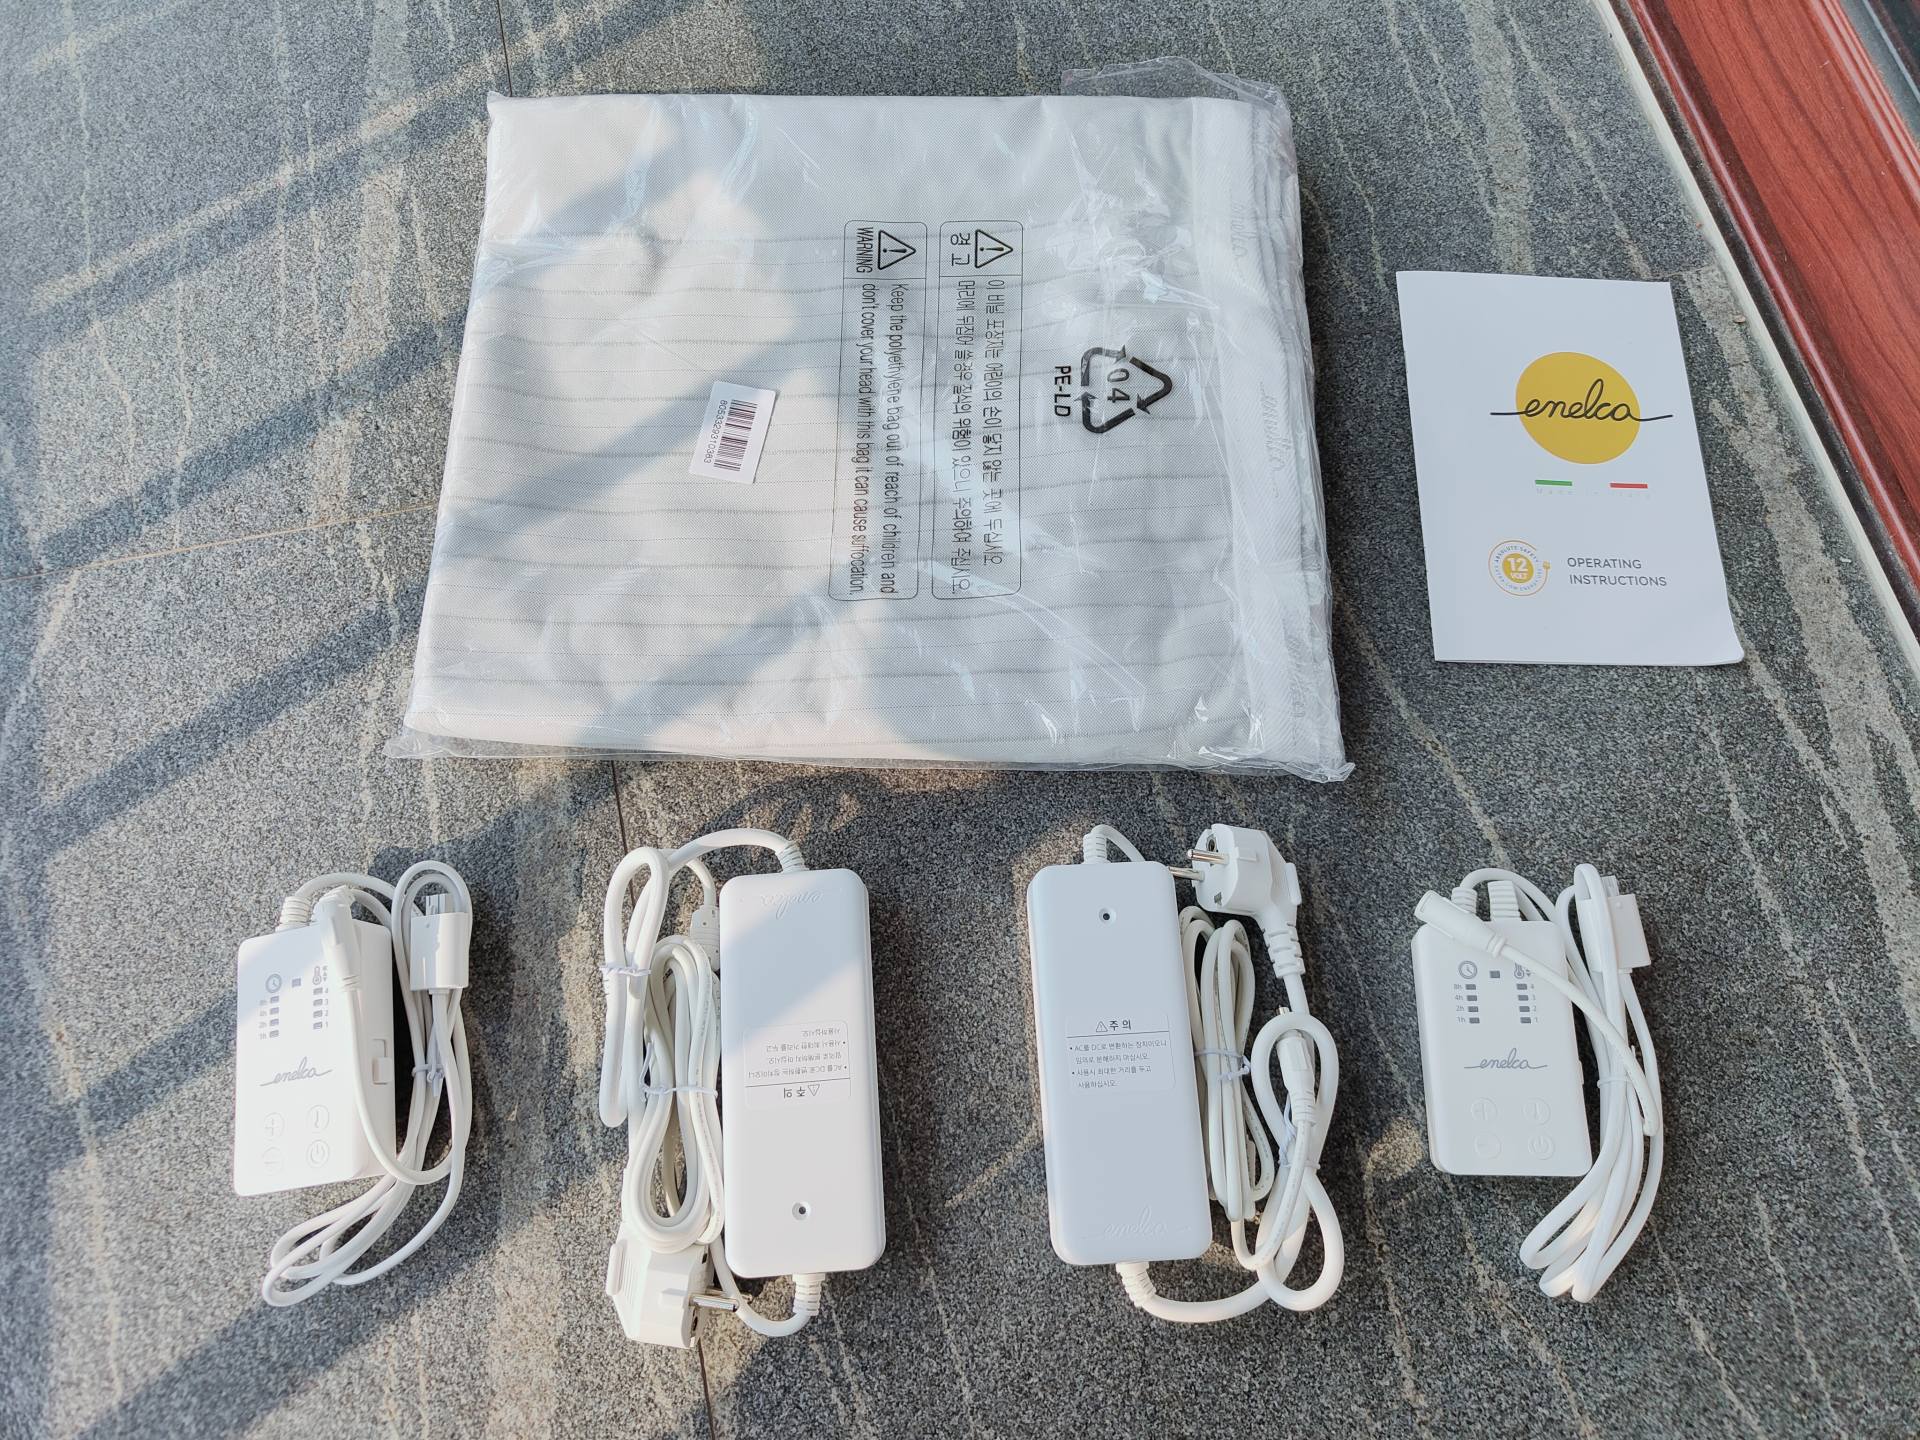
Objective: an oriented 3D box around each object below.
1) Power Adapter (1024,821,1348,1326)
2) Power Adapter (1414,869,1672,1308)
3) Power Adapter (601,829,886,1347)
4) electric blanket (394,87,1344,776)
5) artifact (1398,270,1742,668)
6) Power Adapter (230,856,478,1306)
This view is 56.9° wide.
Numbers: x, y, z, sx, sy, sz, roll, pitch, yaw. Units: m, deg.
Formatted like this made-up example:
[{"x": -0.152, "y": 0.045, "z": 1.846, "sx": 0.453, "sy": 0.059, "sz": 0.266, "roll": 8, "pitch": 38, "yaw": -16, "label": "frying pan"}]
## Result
[{"x": 0.165, "y": 0.253, "z": 1.291, "sx": 0.213, "sy": 0.134, "sz": 0.340, "roll": -6, "pitch": 60, "yaw": 8, "label": "Power Adapter"}, {"x": 0.462, "y": 0.268, "z": 1.331, "sx": 0.165, "sy": 0.048, "sz": 0.328, "roll": -3, "pitch": 74, "yaw": 4, "label": "Power Adapter"}, {"x": -0.160, "y": 0.270, "z": 1.304, "sx": 0.218, "sy": 0.081, "sz": 0.395, "roll": 4, "pitch": 55, "yaw": -5, "label": "Power Adapter"}, {"x": -0.068, "y": -0.230, "z": 1.402, "sx": 0.691, "sy": 0.313, "sz": 0.507, "roll": -5, "pitch": 60, "yaw": 9, "label": "electric blanket"}, {"x": 0.493, "y": -0.207, "z": 1.440, "sx": 0.238, "sy": 0.143, "sz": 0.313, "roll": -5, "pitch": 60, "yaw": 9, "label": "artifact"}, {"x": -0.440, "y": 0.252, "z": 1.294, "sx": 0.173, "sy": 0.085, "sz": 0.325, "roll": -2, "pitch": 82, "yaw": -4, "label": "Power Adapter"}]
